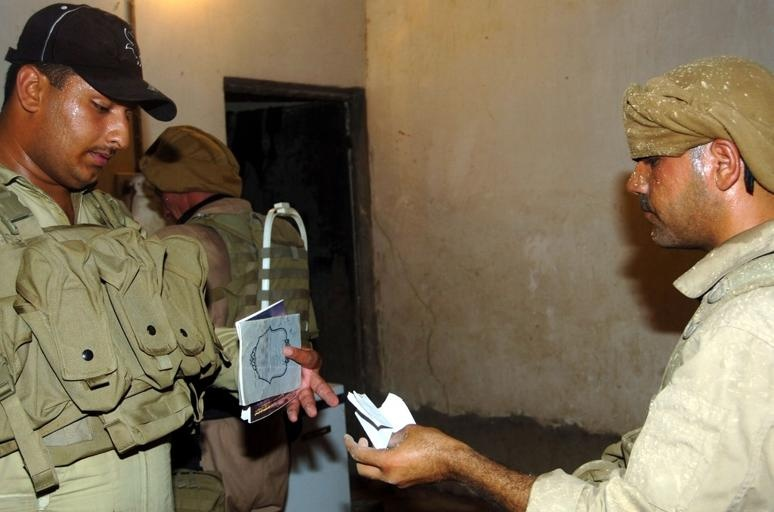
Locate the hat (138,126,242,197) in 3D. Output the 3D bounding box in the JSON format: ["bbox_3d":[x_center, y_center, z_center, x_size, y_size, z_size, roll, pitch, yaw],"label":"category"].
[{"bbox_3d":[-0.942,-0.440,3.670,0.414,0.234,0.310,22,8,11],"label":"hat"}]

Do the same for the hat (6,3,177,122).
[{"bbox_3d":[-1.005,-0.669,2.697,0.497,0.279,0.333,20,3,-1],"label":"hat"}]
